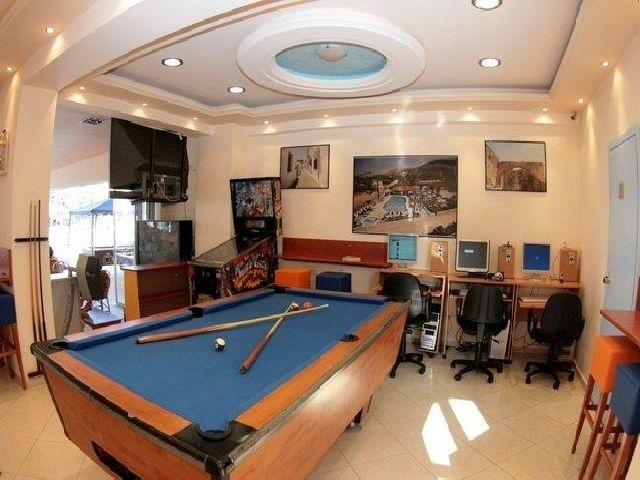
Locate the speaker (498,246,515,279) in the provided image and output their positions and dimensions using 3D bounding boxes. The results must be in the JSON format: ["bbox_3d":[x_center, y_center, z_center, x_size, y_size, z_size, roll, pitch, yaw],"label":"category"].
[{"bbox_3d":[2.611,0.313,6.245,0.229,0.423,0.318,7,16,24],"label":"speaker"}]

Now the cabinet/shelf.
[{"bbox_3d":[-2.432,0.767,6.611,0.414,0.861,0.953,5,5,33],"label":"cabinet/shelf"}]

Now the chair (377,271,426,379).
[{"bbox_3d":[1.111,1.109,5.889,0.617,1.290,1.529,2,14,7],"label":"chair"}]

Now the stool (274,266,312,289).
[{"bbox_3d":[-0.409,0.563,7.002,0.387,0.287,0.394,1,2,21],"label":"stool"}]

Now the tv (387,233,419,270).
[{"bbox_3d":[1.257,0.179,6.696,0.542,0.542,0.194,1,-3,22],"label":"tv"}]

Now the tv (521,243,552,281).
[{"bbox_3d":[3.014,0.311,6.167,0.505,0.653,0.236,0,-1,18],"label":"tv"}]

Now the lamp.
[{"bbox_3d":[0.105,-1.956,4.745,1.967,0.676,1.278,-2,14,-9],"label":"lamp"}]

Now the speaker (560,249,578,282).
[{"bbox_3d":[3.360,0.350,6.002,0.234,0.415,0.173,2,14,6],"label":"speaker"}]

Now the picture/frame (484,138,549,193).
[{"bbox_3d":[2.873,-1.062,6.421,0.804,0.670,0.033,1,6,13],"label":"picture/frame"}]

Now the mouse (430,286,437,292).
[{"bbox_3d":[1.634,0.702,6.328,0.075,0.087,0.096,-1,-5,-43],"label":"mouse"}]

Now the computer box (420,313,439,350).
[{"bbox_3d":[1.548,1.286,6.222,0.265,0.511,0.276,4,-2,34],"label":"computer box"}]

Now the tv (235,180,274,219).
[{"bbox_3d":[-1.040,-0.664,7.156,0.594,0.497,0.028,3,10,19],"label":"tv"}]

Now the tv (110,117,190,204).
[{"bbox_3d":[-2.734,-1.273,7.017,0.487,1.190,1.286,2,2,31],"label":"tv"}]

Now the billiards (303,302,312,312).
[{"bbox_3d":[-0.137,0.695,4.596,0.075,0.037,0.103,0,6,3],"label":"billiards"}]

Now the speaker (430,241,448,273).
[{"bbox_3d":[1.730,0.238,6.532,0.328,0.440,0.237,9,17,31],"label":"speaker"}]

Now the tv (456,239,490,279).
[{"bbox_3d":[2.162,0.270,6.290,0.527,0.616,0.217,1,-1,17],"label":"tv"}]

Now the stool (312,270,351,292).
[{"bbox_3d":[0.202,0.632,6.795,0.353,0.344,0.362,1,1,28],"label":"stool"}]
